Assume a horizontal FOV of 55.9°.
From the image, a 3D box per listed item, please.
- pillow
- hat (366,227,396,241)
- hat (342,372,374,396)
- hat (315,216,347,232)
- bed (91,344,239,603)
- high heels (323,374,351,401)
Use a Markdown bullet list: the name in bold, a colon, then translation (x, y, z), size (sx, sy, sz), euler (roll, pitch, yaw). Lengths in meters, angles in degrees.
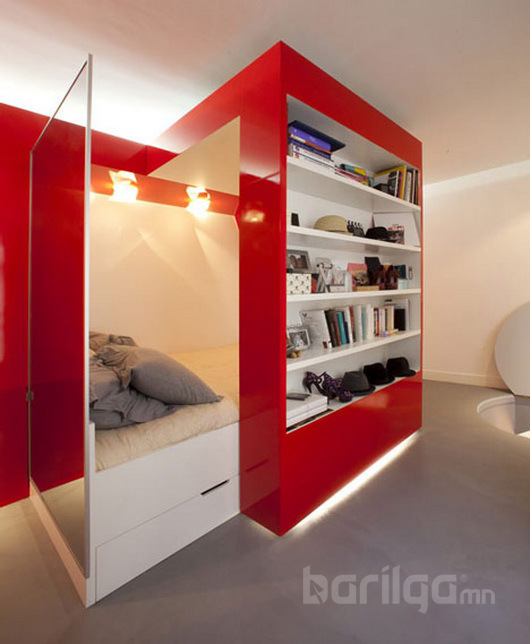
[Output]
- **pillow**: translation (-0.512, 0.232, 2.161), size (0.175, 0.396, 0.648), euler (4, 6, 40)
- **hat**: translation (0.743, -0.566, 3.268), size (0.179, 0.063, 0.125), euler (3, -2, -44)
- **hat**: translation (0.561, 0.362, 2.952), size (0.160, 0.058, 0.122), euler (6, -4, -32)
- **hat**: translation (0.366, -0.548, 2.804), size (0.182, 0.106, 0.130), euler (1, 5, 6)
- **bed**: translation (-0.613, 0.615, 2.244), size (0.501, 0.797, 0.807), euler (0, 4, 34)
- **high heels**: translation (0.430, 0.360, 2.870), size (0.167, 0.138, 0.286), euler (2, 5, 23)
